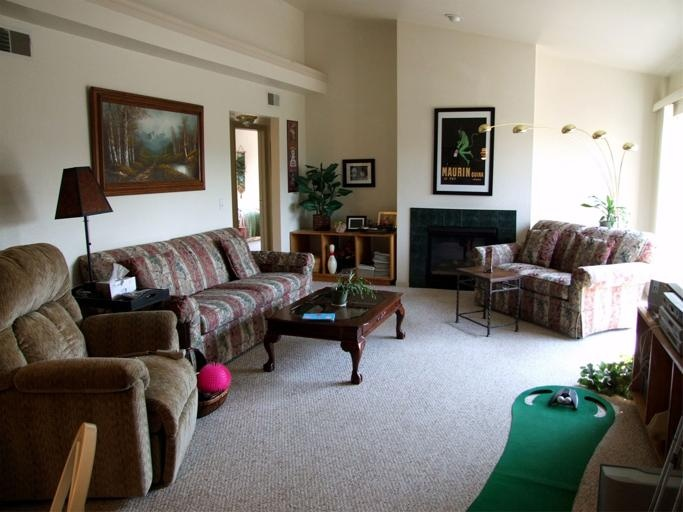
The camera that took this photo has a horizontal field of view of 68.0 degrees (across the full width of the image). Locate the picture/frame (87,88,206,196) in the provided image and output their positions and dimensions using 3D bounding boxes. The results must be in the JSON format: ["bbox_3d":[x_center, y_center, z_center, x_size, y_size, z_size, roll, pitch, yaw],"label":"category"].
[{"bbox_3d":[-1.851,-1.122,5.058,0.030,0.936,1.369,9,13,27],"label":"picture/frame"}]

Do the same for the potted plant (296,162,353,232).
[{"bbox_3d":[-0.235,-0.927,7.676,0.995,1.100,0.905,5,11,29],"label":"potted plant"}]

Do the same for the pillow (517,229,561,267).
[{"bbox_3d":[2.292,-0.107,5.877,0.130,0.423,0.441,17,5,-19],"label":"pillow"}]

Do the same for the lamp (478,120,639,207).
[{"bbox_3d":[2.621,-1.116,6.087,1.872,1.024,1.589,-9,15,-30],"label":"lamp"}]

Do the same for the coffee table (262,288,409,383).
[{"bbox_3d":[-0.047,0.594,4.648,0.882,0.626,1.237,5,15,24],"label":"coffee table"}]

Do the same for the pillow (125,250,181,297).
[{"bbox_3d":[-1.635,0.155,4.452,0.112,0.375,0.392,-19,-12,24],"label":"pillow"}]

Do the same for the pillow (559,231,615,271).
[{"bbox_3d":[2.580,-0.032,5.374,0.117,0.393,0.396,28,-8,-25],"label":"pillow"}]

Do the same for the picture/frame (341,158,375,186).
[{"bbox_3d":[0.265,-1.251,7.449,0.386,0.358,0.030,1,6,14],"label":"picture/frame"}]

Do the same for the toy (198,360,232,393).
[{"bbox_3d":[-0.911,0.879,3.704,0.196,0.202,0.205,4,8,18],"label":"toy"}]

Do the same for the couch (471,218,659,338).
[{"bbox_3d":[2.451,0.201,5.464,0.974,0.977,1.267,-9,15,-30],"label":"couch"}]

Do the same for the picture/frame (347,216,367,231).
[{"bbox_3d":[0.229,-0.476,7.314,0.200,0.219,0.015,1,6,-5],"label":"picture/frame"}]

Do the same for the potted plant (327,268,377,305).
[{"bbox_3d":[0.059,0.290,4.711,0.301,0.264,0.316,6,7,41],"label":"potted plant"}]

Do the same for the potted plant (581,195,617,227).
[{"bbox_3d":[3.175,-0.570,6.231,0.447,0.381,0.446,-5,7,-32],"label":"potted plant"}]

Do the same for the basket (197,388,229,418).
[{"bbox_3d":[-0.924,1.055,3.706,0.084,0.184,0.294,7,15,30],"label":"basket"}]
